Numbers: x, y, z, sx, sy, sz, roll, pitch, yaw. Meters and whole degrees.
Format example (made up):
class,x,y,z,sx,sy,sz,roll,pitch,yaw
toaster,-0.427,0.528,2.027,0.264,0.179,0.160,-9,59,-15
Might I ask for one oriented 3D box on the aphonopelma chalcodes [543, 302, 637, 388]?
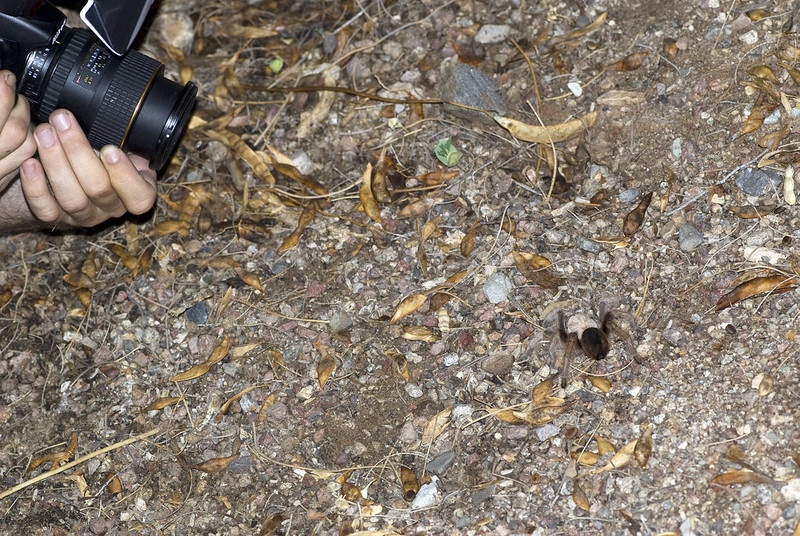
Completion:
class,x,y,z,sx,sy,sz,roll,pitch,yaw
aphonopelma chalcodes,0.648,0.239,2.279,0.279,0.103,0.239,-14,66,-5

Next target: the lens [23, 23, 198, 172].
class,x,y,z,sx,sy,sz,roll,pitch,yaw
lens,-0.916,-0.554,2.235,0.504,0.247,0.318,27,91,0
